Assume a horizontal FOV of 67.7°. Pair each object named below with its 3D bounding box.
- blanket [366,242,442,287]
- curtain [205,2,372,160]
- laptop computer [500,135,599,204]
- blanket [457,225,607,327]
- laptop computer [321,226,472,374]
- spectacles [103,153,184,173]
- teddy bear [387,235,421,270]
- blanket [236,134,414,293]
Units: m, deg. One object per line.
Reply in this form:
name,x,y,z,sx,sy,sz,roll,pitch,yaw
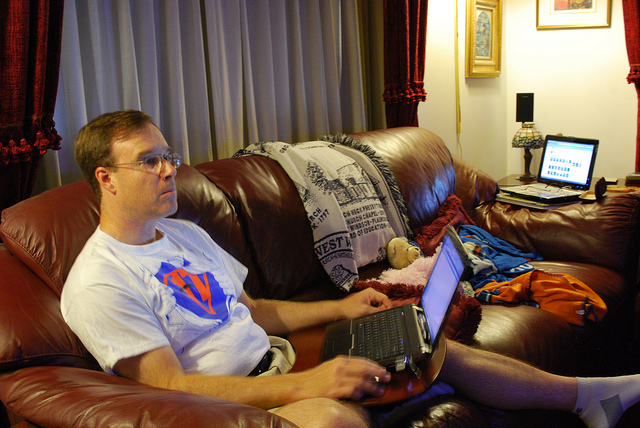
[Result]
blanket,0.459,0.296,2.452,0.228,0.105,0.270,-15,18,43
curtain,-0.244,-0.880,3.140,1.058,1.223,0.124,-16,14,-38
laptop computer,1.555,-0.312,3.216,0.500,0.350,0.534,-18,17,-33
blanket,1.163,0.310,2.603,0.733,0.258,0.827,-17,15,-32
laptop computer,0.285,0.315,1.913,0.632,0.408,0.581,-6,8,-6
spectacles,-0.662,-0.191,1.800,0.283,0.065,0.096,-6,11,-23
teddy bear,0.453,0.207,2.619,0.200,0.084,0.155,13,55,32
blanket,0.006,-0.062,2.680,0.836,0.866,0.250,-11,-13,-40
